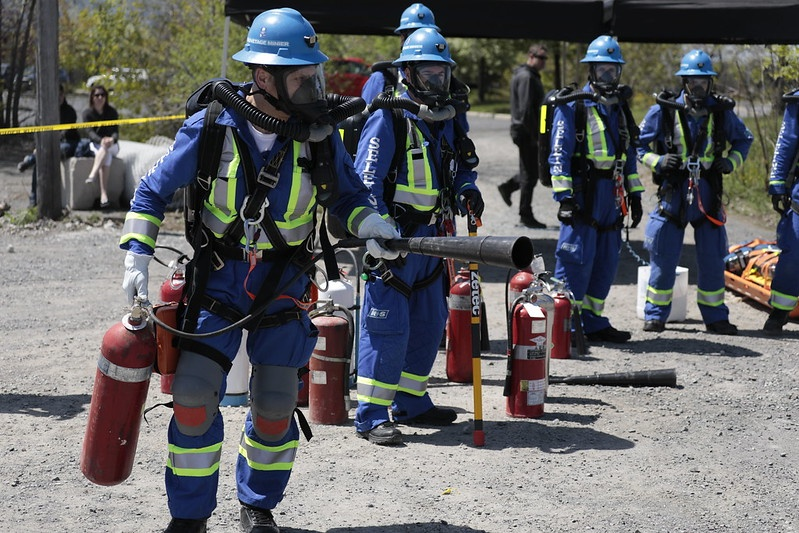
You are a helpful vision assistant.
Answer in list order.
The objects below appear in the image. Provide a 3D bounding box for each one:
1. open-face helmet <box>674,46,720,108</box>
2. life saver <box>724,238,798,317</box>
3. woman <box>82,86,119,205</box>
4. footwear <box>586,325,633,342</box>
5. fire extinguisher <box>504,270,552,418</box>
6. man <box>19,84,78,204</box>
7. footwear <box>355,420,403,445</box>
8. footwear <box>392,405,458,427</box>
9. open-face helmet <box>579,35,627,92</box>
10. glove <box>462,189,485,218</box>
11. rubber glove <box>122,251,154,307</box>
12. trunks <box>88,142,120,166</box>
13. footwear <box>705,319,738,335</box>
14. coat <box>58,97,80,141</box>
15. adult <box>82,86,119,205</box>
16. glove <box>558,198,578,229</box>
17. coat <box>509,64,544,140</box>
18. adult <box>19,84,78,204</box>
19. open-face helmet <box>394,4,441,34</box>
[{"bbox_3d":[3.197,-2.009,12.284,0.391,0.604,0.336,4,8,12],"label":"open-face helmet"},{"bbox_3d":[4.148,0.104,13.401,0.550,0.277,0.914,-23,3,4],"label":"life saver"},{"bbox_3d":[-4.428,-1.762,17.025,0.498,1.786,0.754,0,8,-15],"label":"woman"},{"bbox_3d":[2.259,0.740,12.339,0.497,0.223,0.174,-2,8,12],"label":"footwear"},{"bbox_3d":[1.163,0.811,10.419,0.382,1.159,0.270,3,7,6],"label":"fire extinguisher"},{"bbox_3d":[-5.085,-1.782,16.697,0.841,1.725,1.797,0,8,-16],"label":"man"},{"bbox_3d":[-0.187,1.466,10.046,0.352,0.179,0.152,-1,-1,33],"label":"footwear"},{"bbox_3d":[0.230,1.339,10.502,0.548,0.266,0.219,-4,6,4],"label":"footwear"},{"bbox_3d":[2.145,-2.152,12.066,0.457,0.603,0.542,-2,6,-24],"label":"open-face helmet"},{"bbox_3d":[0.646,-0.548,10.200,0.183,0.256,0.113,-4,-16,-31],"label":"glove"},{"bbox_3d":[-1.965,0.088,8.616,0.192,0.411,0.324,0,8,-13],"label":"rubber glove"},{"bbox_3d":[-4.366,-1.694,17.091,0.383,0.378,0.119,2,-5,7],"label":"trunks"},{"bbox_3d":[3.499,0.677,12.527,0.361,0.159,0.134,0,-2,37],"label":"footwear"},{"bbox_3d":[-4.809,-2.129,16.663,0.391,0.529,0.179,-3,3,-9],"label":"coat"},{"bbox_3d":[-4.432,-1.764,17.041,0.498,1.786,0.743,0,8,-15],"label":"adult"},{"bbox_3d":[1.765,-0.567,11.984,0.188,0.296,0.176,3,8,6],"label":"glove"},{"bbox_3d":[1.812,-2.296,16.238,0.460,1.109,0.545,3,7,8],"label":"coat"},{"bbox_3d":[-5.082,-1.780,16.687,0.840,1.725,1.809,0,8,-16],"label":"adult"},{"bbox_3d":[0.183,-2.588,11.933,0.593,0.344,0.537,-1,6,-12],"label":"open-face helmet"}]
